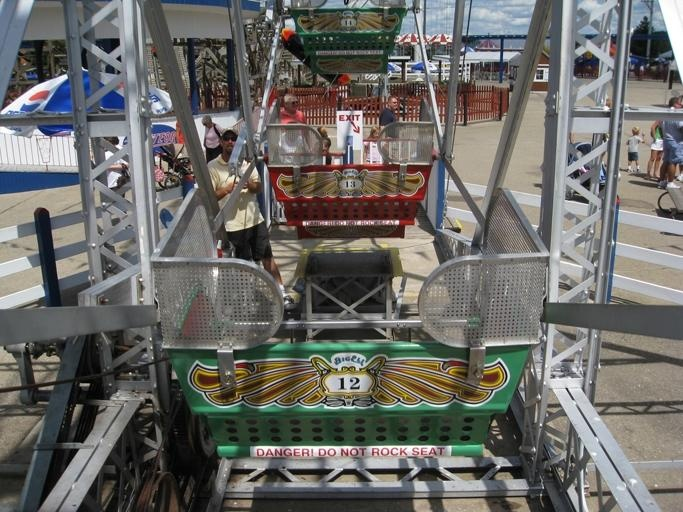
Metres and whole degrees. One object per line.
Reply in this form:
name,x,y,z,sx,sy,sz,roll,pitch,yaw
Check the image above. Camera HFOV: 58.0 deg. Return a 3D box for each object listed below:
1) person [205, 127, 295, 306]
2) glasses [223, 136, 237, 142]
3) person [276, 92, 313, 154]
person,-1.158,-0.433,7.653,0.854,2.276,1.264,-3,19,-6
glasses,-1.318,-1.385,7.267,0.167,0.080,0.127,-6,20,-13
person,-0.776,-2.011,10.317,0.493,1.244,0.350,-11,14,-8
